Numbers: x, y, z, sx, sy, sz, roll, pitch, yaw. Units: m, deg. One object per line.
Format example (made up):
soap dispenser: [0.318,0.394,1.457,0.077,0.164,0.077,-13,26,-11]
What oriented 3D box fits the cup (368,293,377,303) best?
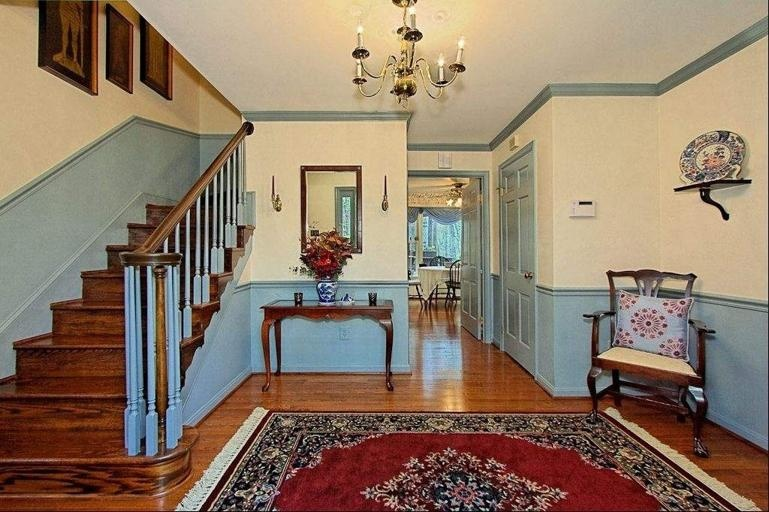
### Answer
cup: [-0.126,0.455,5.609,0.096,0.134,0.097,-1,-1,0]

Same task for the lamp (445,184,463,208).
lamp: [1.422,-1.242,10.735,0.409,0.421,0.562,0,-2,-8]

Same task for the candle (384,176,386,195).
candle: [0.013,-0.797,5.856,0.027,0.203,0.038,-1,7,0]

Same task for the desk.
desk: [-0.604,0.933,5.730,1.406,0.904,0.586,1,9,1]

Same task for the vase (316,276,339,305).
vase: [-0.613,0.375,5.514,0.245,0.311,0.245,0,0,-12]

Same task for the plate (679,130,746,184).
plate: [3.040,-0.922,4.797,0.137,0.487,0.523,-5,8,-31]

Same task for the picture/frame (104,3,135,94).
picture/frame: [-2.764,-2.152,5.411,0.165,0.887,0.474,1,7,14]

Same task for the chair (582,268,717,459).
chair: [2.450,0.869,4.657,0.974,1.454,1.047,-2,5,-36]

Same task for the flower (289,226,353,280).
flower: [-0.675,0.004,5.691,0.556,0.503,0.567,5,-5,-41]

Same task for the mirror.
mirror: [-0.609,-0.541,5.815,0.983,1.388,0.099,0,-2,-3]

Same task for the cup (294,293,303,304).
cup: [-0.913,0.467,5.584,0.103,0.117,0.104,-1,-3,0]
